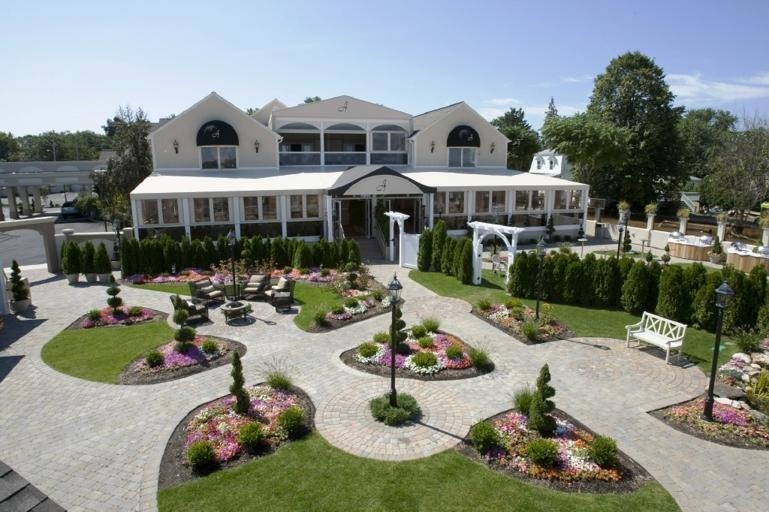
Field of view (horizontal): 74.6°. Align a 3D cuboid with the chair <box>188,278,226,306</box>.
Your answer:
[{"bbox_3d":[-9.041,1.827,25.265,1.454,1.394,1.391,7,14,21],"label":"chair"}]

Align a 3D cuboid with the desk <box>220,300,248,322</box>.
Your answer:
[{"bbox_3d":[-7.014,2.590,23.873,1.314,0.743,1.228,-3,9,-10],"label":"desk"}]

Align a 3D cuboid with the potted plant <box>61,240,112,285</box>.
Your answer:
[{"bbox_3d":[-17.308,0.451,29.186,2.477,2.042,1.114,0,19,-11],"label":"potted plant"}]

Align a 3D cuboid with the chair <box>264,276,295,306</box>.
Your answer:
[{"bbox_3d":[-5.233,1.728,25.509,1.467,1.439,1.256,-1,6,-21],"label":"chair"}]

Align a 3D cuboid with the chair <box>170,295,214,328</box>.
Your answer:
[{"bbox_3d":[-8.712,2.518,22.759,1.760,1.431,1.372,-3,21,-15],"label":"chair"}]

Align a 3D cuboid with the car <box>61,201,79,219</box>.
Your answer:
[{"bbox_3d":[-39.185,-5.703,62.815,1.760,1.539,3.600,-6,20,-35],"label":"car"}]

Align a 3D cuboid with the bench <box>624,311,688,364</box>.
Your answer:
[{"bbox_3d":[11.391,3.449,21.021,0.846,1.191,1.674,-2,9,-25],"label":"bench"}]

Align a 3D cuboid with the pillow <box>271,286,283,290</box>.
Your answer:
[{"bbox_3d":[-5.508,1.666,25.790,0.357,0.097,0.333,1,12,-2],"label":"pillow"}]

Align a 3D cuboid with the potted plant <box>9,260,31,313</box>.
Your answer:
[{"bbox_3d":[-18.195,1.450,25.143,0.826,2.564,2.123,-8,11,-35],"label":"potted plant"}]

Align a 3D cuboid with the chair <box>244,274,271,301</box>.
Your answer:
[{"bbox_3d":[-6.685,1.617,26.628,1.224,1.262,1.329,1,6,11],"label":"chair"}]
